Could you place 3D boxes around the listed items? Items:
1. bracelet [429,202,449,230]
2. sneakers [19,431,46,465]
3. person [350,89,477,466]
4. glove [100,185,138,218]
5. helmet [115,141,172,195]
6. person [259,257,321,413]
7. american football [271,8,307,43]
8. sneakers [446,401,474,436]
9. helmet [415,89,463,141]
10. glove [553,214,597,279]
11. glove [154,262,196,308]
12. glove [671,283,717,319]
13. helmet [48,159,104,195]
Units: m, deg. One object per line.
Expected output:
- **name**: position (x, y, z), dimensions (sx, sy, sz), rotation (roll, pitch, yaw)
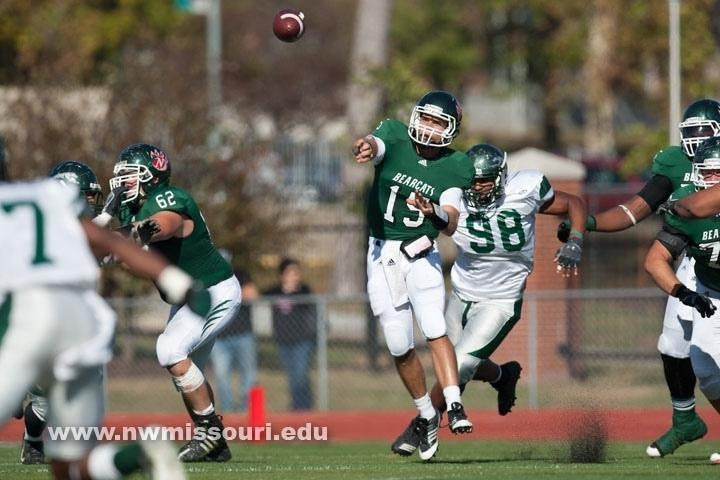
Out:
- **bracelet**: position (0.728, -0.225, 10.391), dimensions (0.102, 0.138, 0.234), rotation (-22, -39, 21)
- **sneakers**: position (-3.123, 1.991, 10.878), dimensions (0.243, 0.395, 0.289), rotation (6, -7, -40)
- **person**: position (0.511, 0.377, 10.824), dimensions (1.063, 3.585, 0.872), rotation (1, 5, 20)
- **glove**: position (-2.272, -0.352, 10.639), dimensions (0.117, 0.299, 0.219), rotation (20, -9, 8)
- **helmet**: position (-2.095, -0.657, 10.920), dimensions (0.559, 0.449, 0.393), rotation (0, -4, -33)
- **person**: position (-0.889, 1.221, 14.881), dimensions (0.604, 1.889, 0.877), rotation (-2, 4, -7)
- **american football**: position (-0.777, -2.304, 12.140), dimensions (0.329, 0.351, 0.301), rotation (-1, 4, 0)
- **sneakers**: position (0.922, 1.681, 10.607), dimensions (0.148, 0.194, 0.396), rotation (0, -10, -7)
- **helmet**: position (0.770, -1.190, 11.076), dimensions (0.385, 0.396, 0.510), rotation (13, 5, 15)
- **glove**: position (2.077, 0.082, 11.201), dimensions (0.288, 0.222, 0.723), rotation (36, 36, -8)
- **glove**: position (-1.343, 0.376, 8.430), dimensions (0.306, 0.264, 0.293), rotation (-3, 35, -41)
- **glove**: position (3.113, 0.585, 10.566), dimensions (0.373, 0.245, 0.141), rotation (25, -13, 27)
- **helmet**: position (-2.770, -0.635, 11.017), dimensions (0.426, 0.344, 0.311), rotation (16, 11, -9)
